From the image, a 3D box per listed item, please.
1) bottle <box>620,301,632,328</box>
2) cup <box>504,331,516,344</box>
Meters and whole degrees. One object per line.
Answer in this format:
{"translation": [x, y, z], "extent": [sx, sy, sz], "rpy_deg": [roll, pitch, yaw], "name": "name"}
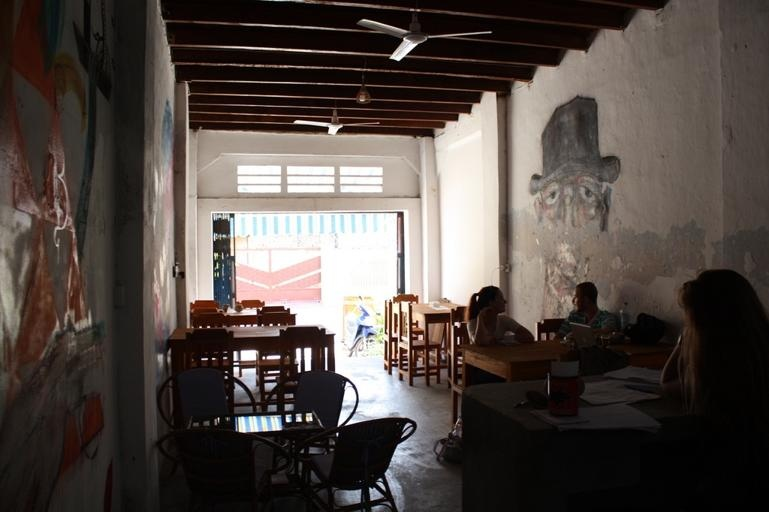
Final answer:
{"translation": [2.405, 0.589, 6.055], "extent": [0.077, 0.243, 0.205], "rpy_deg": [4, 4, -2], "name": "bottle"}
{"translation": [1.178, 0.772, 5.694], "extent": [0.087, 0.071, 0.089], "rpy_deg": [0, -3, 0], "name": "cup"}
